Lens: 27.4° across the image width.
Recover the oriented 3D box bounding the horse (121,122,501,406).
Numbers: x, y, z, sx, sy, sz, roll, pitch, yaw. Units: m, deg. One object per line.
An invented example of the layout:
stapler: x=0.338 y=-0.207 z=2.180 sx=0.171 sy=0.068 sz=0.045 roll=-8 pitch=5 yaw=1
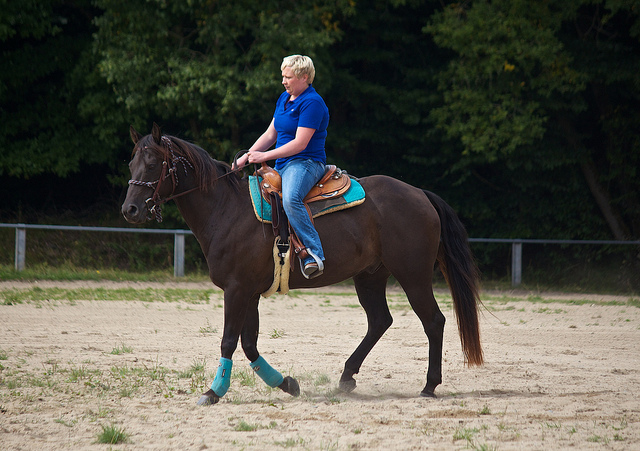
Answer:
horse: x=-0.148 y=0.751 z=29.557 sx=7.854 sy=6.478 sz=2.386 roll=-1 pitch=22 yaw=-3
